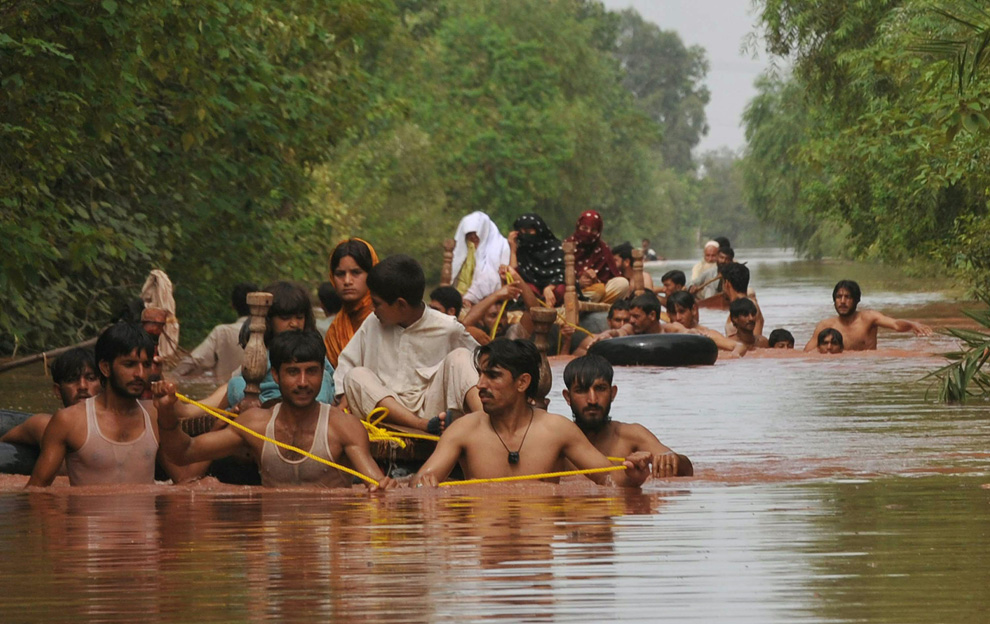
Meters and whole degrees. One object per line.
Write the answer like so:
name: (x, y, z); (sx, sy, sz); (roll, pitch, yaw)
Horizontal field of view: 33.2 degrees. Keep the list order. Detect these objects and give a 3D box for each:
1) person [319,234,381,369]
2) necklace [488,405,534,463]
person: (-1.622, -0.127, 18.658); (0.611, 1.451, 0.787); (1, 0, -2)
necklace: (0.165, 1.272, 17.241); (0.640, 0.713, 0.099); (-1, -22, 3)
